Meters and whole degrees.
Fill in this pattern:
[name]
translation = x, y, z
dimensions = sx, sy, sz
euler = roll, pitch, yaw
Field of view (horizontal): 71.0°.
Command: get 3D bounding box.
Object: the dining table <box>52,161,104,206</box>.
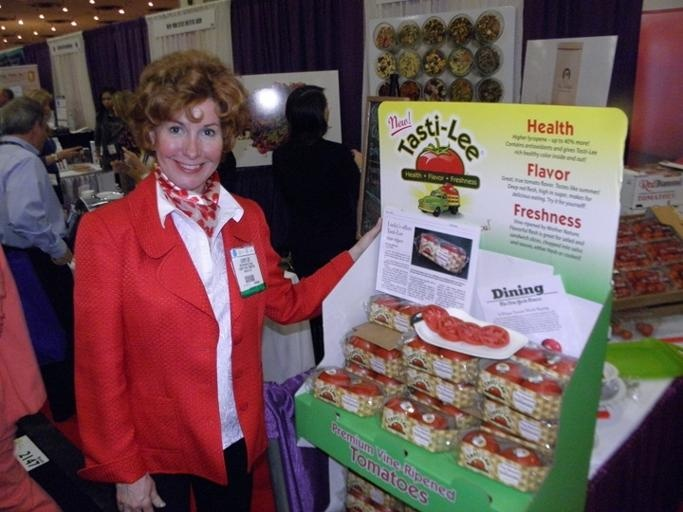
[dining table]
translation = -3.354, -1.009, 6.192
dimensions = 0.561, 0.266, 0.576
euler = 6, 23, -45
